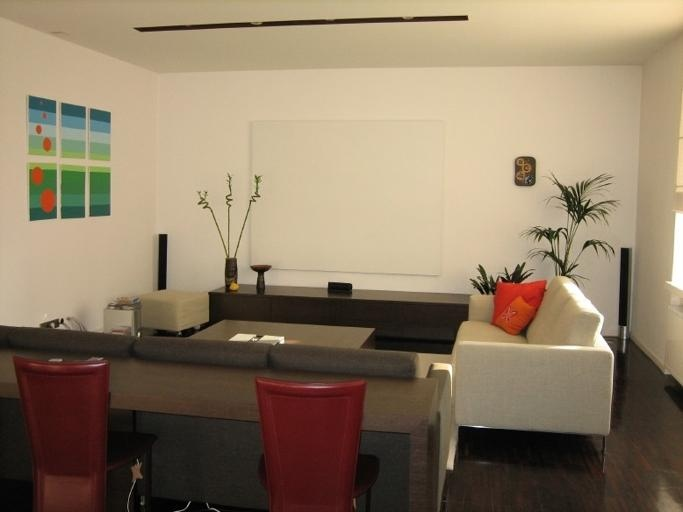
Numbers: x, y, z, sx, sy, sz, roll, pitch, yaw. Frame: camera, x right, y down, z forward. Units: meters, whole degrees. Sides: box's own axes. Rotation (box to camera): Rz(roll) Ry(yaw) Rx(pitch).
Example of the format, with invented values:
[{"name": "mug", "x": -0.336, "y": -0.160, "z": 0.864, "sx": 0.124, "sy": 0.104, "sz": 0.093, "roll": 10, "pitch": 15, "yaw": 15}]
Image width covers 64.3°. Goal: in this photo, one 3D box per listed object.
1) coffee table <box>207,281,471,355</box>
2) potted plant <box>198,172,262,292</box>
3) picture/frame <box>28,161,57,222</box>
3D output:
[{"name": "coffee table", "x": -0.015, "y": 0.716, "z": 6.869, "sx": 3.395, "sy": 0.709, "sz": 0.600, "roll": 2, "pitch": 21, "yaw": 12}, {"name": "potted plant", "x": -1.587, "y": -0.326, "z": 7.081, "sx": 0.928, "sy": 1.489, "sz": 0.811, "roll": 5, "pitch": 13, "yaw": 6}, {"name": "picture/frame", "x": -3.114, "y": -0.677, "z": 5.702, "sx": 0.546, "sy": 0.601, "sz": 0.010, "roll": 1, "pitch": 5, "yaw": 26}]
